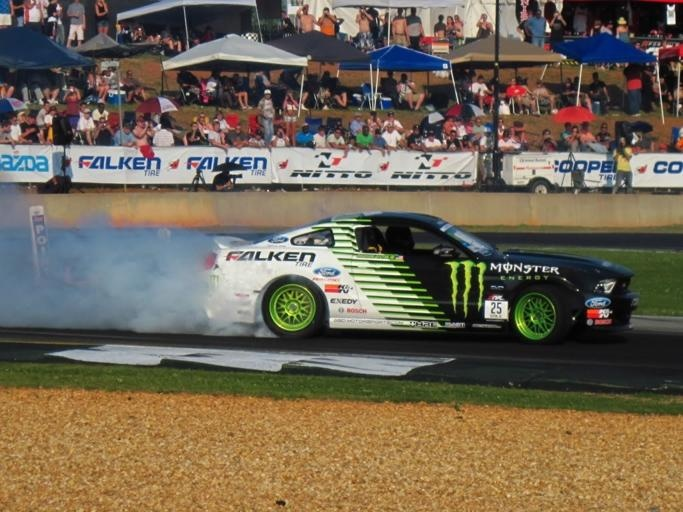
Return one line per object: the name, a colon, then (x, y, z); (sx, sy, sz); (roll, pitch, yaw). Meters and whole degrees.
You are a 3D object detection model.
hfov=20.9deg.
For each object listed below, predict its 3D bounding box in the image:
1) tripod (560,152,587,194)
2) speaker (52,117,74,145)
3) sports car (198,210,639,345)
tripod: (6.566, -2.529, 52.611); (0.655, 0.969, 0.625); (-18, -28, 2)
speaker: (-7.685, -3.407, 50.902); (0.513, 0.818, 0.689); (0, 2, -3)
sports car: (1.864, 0.596, 41.062); (8.136, 2.337, 3.558); (0, 2, 5)
